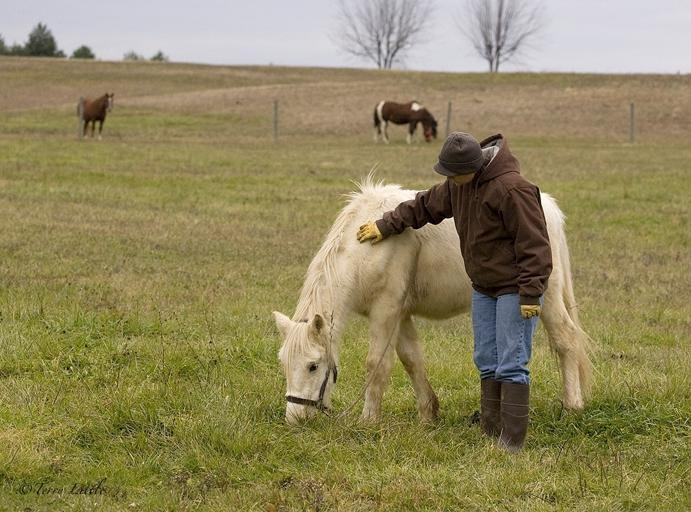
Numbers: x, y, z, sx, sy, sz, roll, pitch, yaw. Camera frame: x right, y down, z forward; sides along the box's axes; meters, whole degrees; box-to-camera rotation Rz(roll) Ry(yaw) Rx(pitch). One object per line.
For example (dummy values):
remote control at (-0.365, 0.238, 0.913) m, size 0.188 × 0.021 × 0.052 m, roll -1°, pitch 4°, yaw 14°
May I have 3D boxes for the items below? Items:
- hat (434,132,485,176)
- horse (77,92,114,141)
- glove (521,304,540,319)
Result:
hat at (1.517, -1.355, 15.734) m, size 0.662 × 0.595 × 0.236 m, roll -1°, pitch 6°, yaw 3°
horse at (-5.414, -3.013, 25.231) m, size 0.401 × 0.975 × 1.400 m, roll 2°, pitch 4°, yaw -40°
glove at (2.439, 0.712, 15.601) m, size 0.253 × 0.169 × 0.117 m, roll 0°, pitch 6°, yaw 11°
